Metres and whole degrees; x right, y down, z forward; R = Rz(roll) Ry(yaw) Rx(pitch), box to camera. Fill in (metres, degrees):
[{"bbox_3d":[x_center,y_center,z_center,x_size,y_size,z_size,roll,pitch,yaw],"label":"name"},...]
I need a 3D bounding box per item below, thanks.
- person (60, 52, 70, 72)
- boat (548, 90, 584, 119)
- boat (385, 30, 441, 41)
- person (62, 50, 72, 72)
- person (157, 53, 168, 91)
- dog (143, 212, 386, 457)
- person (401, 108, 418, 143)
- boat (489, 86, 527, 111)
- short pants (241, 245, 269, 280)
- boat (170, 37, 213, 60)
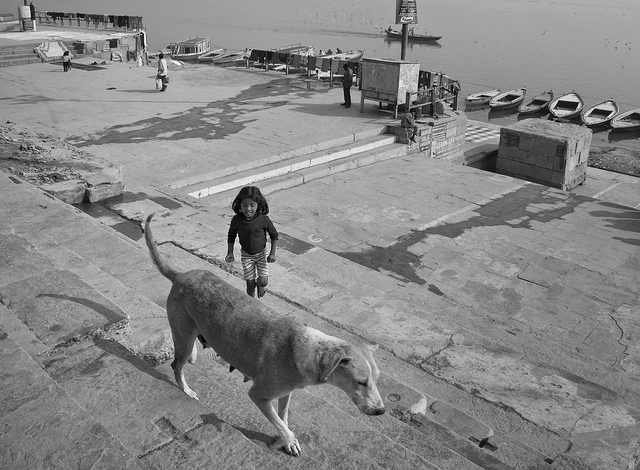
[{"bbox_3d":[-13.402,-9.189,21.968,0.404,0.939,0.645,-14,30,-24],"label":"person"},{"bbox_3d":[15.844,-8.399,26.985,1.558,0.842,3.582,23,48,26],"label":"boat"},{"bbox_3d":[14.451,-30.925,64.055,5.092,1.343,20.458,9,26,17],"label":"boat"},{"bbox_3d":[-13.603,-9.341,22.231,0.540,0.998,1.327,-14,30,-26],"label":"person"},{"bbox_3d":[-6.868,-7.088,18.029,0.421,1.567,0.854,-10,29,-18],"label":"person"},{"bbox_3d":[-0.416,1.023,3.321,1.913,1.070,0.668,16,31,30],"label":"dog"},{"bbox_3d":[3.084,-3.768,14.592,0.604,0.984,0.403,5,28,10],"label":"person"},{"bbox_3d":[13.450,-9.541,30.032,1.483,1.029,4.513,34,46,28],"label":"boat"},{"bbox_3d":[-0.768,0.262,5.069,0.343,0.404,0.213,5,40,-4],"label":"short pants"},{"bbox_3d":[-13.098,-18.963,42.039,3.812,1.923,5.217,-7,26,-16],"label":"boat"}]
